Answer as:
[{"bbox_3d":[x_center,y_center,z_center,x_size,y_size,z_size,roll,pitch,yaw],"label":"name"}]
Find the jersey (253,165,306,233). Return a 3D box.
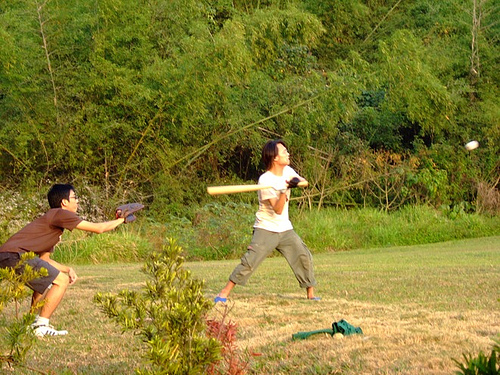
[{"bbox_3d":[0.521,0.121,15.014,0.687,1.330,0.729,2,6,32],"label":"jersey"}]
